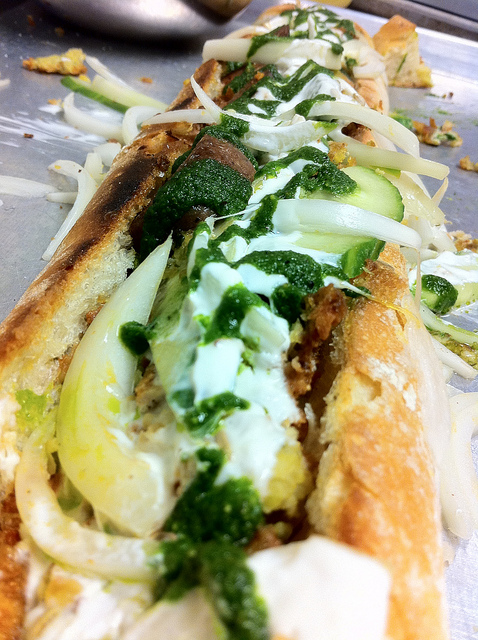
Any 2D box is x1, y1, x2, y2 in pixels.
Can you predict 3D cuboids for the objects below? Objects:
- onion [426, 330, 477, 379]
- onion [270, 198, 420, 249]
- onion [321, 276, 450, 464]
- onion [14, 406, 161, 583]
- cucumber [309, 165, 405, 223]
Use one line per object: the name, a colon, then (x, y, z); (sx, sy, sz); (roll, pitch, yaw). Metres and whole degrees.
onion: (0.700, 0.119, 2.019); (0.053, 0.050, 0.207); (-41, 63, -12)
onion: (0.248, -0.291, 1.677); (0.099, 0.098, 0.445); (-30, 23, -29)
onion: (0.388, 0.123, 1.560); (0.121, 0.295, 0.445); (-13, 63, 16)
onion: (-0.336, 0.400, 1.417); (0.375, 0.118, 0.448); (2, 25, -27)
cucumber: (0.389, -0.395, 1.993); (0.053, 0.183, 0.219); (36, 31, 6)
